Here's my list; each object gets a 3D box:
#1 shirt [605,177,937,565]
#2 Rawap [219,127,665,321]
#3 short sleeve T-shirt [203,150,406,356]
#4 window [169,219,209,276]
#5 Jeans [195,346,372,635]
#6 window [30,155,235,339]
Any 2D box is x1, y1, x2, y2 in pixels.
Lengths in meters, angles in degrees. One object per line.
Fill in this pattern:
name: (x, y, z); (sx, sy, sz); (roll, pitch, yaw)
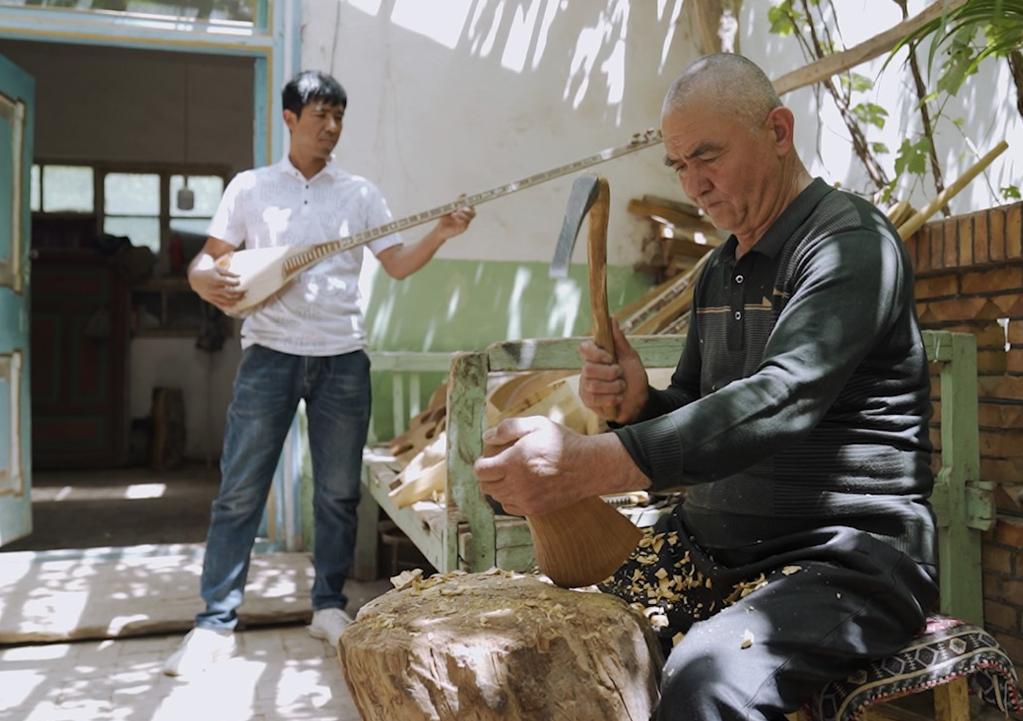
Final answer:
shirt: (0.972, 0.073, 3.720); (1.043, 1.609, 1.246); (1, 3, 11)
Rawap: (-0.442, -0.795, 5.800); (2.846, 0.513, 0.298); (-22, -16, 0)
short sleeve T-shirt: (-1.085, -0.539, 5.281); (0.955, 1.153, 0.565); (-1, 0, -5)
window: (-3.772, -1.355, 11.526); (0.593, 0.964, 0.080); (0, -27, -14)
Jeans: (-1.224, 0.554, 5.248); (0.857, 2.084, 0.418); (-3, 26, -27)
window: (-4.140, -1.192, 10.550); (1.885, 1.838, 0.102); (-1, 2, -9)
